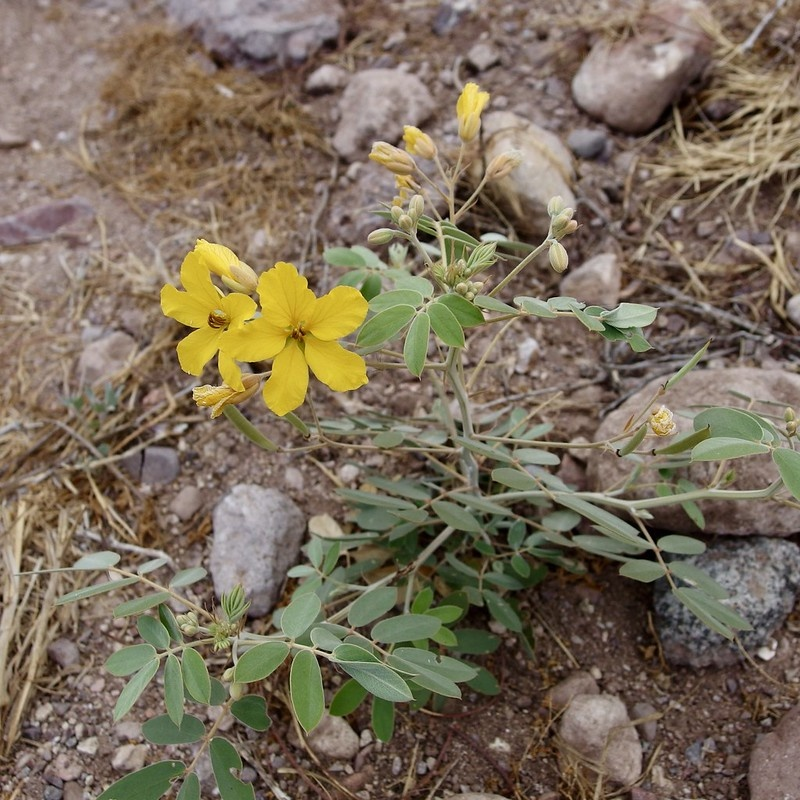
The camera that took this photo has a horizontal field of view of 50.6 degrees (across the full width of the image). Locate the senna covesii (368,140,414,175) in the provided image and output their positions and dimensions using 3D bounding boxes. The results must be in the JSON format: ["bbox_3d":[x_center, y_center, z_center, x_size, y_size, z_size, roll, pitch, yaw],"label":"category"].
[{"bbox_3d":[-0.010,-0.564,1.998,0.127,0.044,0.059,22,34,-2],"label":"senna covesii"}]

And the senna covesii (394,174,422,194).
[{"bbox_3d":[0.015,-0.507,1.983,0.065,0.041,0.024,6,76,-8],"label":"senna covesii"}]

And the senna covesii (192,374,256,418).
[{"bbox_3d":[-0.394,-0.006,1.863,0.126,0.126,0.039,-4,80,-50],"label":"senna covesii"}]

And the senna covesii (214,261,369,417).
[{"bbox_3d":[-0.214,-0.167,1.766,0.292,0.253,0.045,10,64,-15],"label":"senna covesii"}]
